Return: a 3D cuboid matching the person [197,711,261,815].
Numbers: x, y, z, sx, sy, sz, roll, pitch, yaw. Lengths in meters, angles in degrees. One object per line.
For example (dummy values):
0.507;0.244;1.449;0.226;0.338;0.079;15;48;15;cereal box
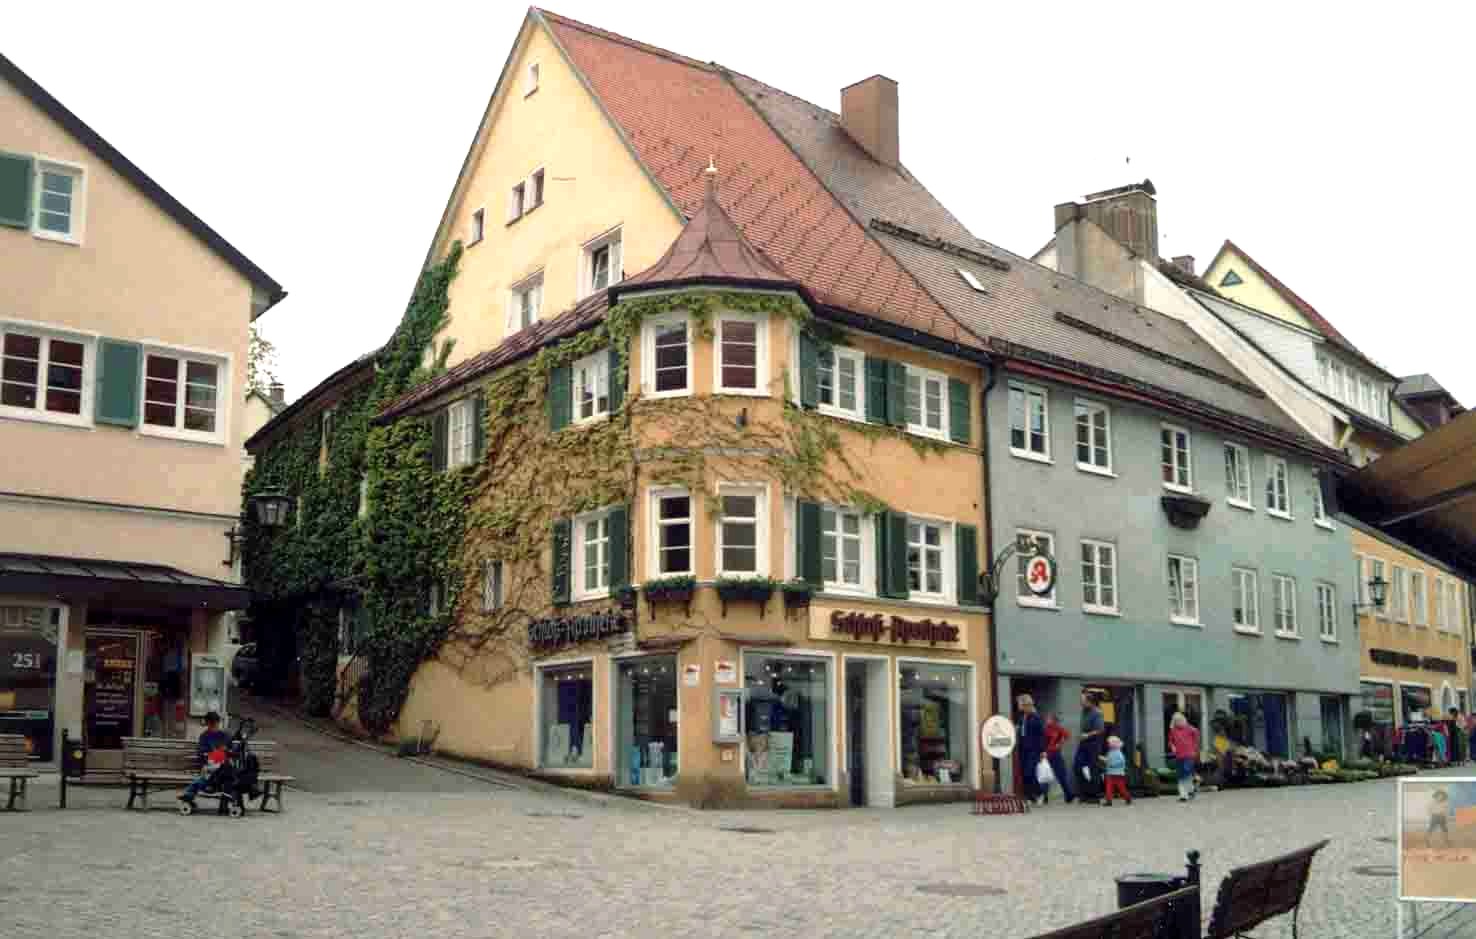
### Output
-8.916;5.304;24.157;0.970;1.508;1.359;2;-2;-21;person
